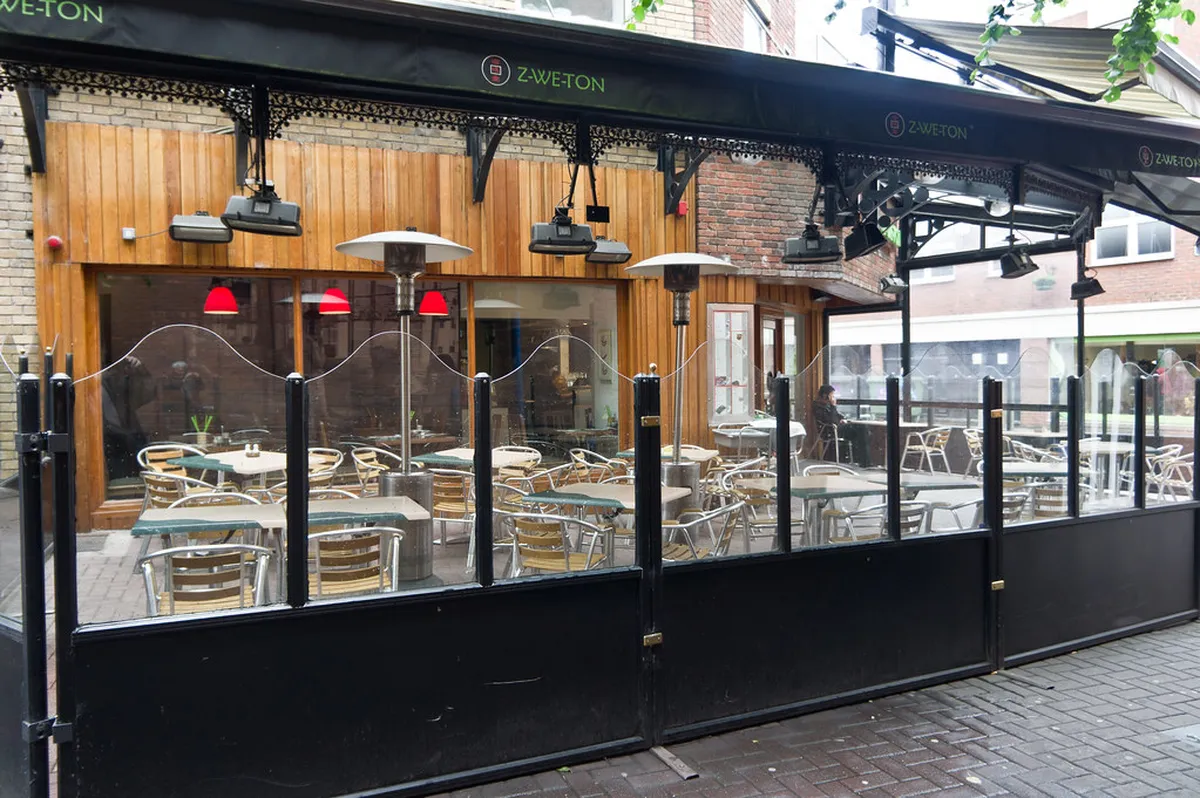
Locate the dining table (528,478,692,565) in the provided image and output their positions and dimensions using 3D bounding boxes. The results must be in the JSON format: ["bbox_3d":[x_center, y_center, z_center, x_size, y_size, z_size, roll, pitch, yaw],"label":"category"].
[{"bbox_3d":[0.079,0.903,10.549,0.752,0.473,0.773,1,5,25],"label":"dining table"}]

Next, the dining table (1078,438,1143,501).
[{"bbox_3d":[4.699,0.663,12.038,0.477,0.519,0.764,0,0,20],"label":"dining table"}]

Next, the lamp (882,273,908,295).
[{"bbox_3d":[4.394,-1.665,19.430,0.365,0.211,0.533,0,3,10],"label":"lamp"}]

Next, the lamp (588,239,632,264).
[{"bbox_3d":[0.105,-1.719,15.795,0.418,0.179,0.420,1,-6,-8],"label":"lamp"}]

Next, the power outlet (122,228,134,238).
[{"bbox_3d":[-5.177,-1.783,14.312,0.113,0.112,0.028,3,-1,-17],"label":"power outlet"}]

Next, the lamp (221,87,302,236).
[{"bbox_3d":[-3.056,-2.144,11.975,0.606,1.090,0.727,4,0,1],"label":"lamp"}]

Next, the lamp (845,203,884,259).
[{"bbox_3d":[2.863,-1.708,14.196,0.366,0.388,0.642,-1,4,6],"label":"lamp"}]

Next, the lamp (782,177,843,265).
[{"bbox_3d":[2.155,-1.761,13.379,0.633,0.873,0.675,-3,-6,20],"label":"lamp"}]

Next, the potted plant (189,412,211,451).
[{"bbox_3d":[-2.972,0.251,9.774,0.179,0.267,0.077,0,4,20],"label":"potted plant"}]

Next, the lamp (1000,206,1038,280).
[{"bbox_3d":[5.531,-2.024,17.500,0.430,0.745,0.463,-15,4,-26],"label":"lamp"}]

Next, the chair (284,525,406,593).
[{"bbox_3d":[-1.877,1.154,10.004,0.788,0.574,0.435,0,2,-12],"label":"chair"}]

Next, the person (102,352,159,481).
[{"bbox_3d":[-3.452,0.153,9.585,0.346,0.896,0.209,-4,5,-26],"label":"person"}]

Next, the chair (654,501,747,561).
[{"bbox_3d":[0.865,1.099,10.576,0.484,0.679,0.452,1,0,24],"label":"chair"}]

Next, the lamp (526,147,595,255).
[{"bbox_3d":[-0.380,-1.980,13.396,0.690,0.927,0.812,-1,12,-28],"label":"lamp"}]

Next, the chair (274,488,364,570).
[{"bbox_3d":[-2.057,0.909,9.921,0.740,0.334,0.487,-1,0,-39],"label":"chair"}]
